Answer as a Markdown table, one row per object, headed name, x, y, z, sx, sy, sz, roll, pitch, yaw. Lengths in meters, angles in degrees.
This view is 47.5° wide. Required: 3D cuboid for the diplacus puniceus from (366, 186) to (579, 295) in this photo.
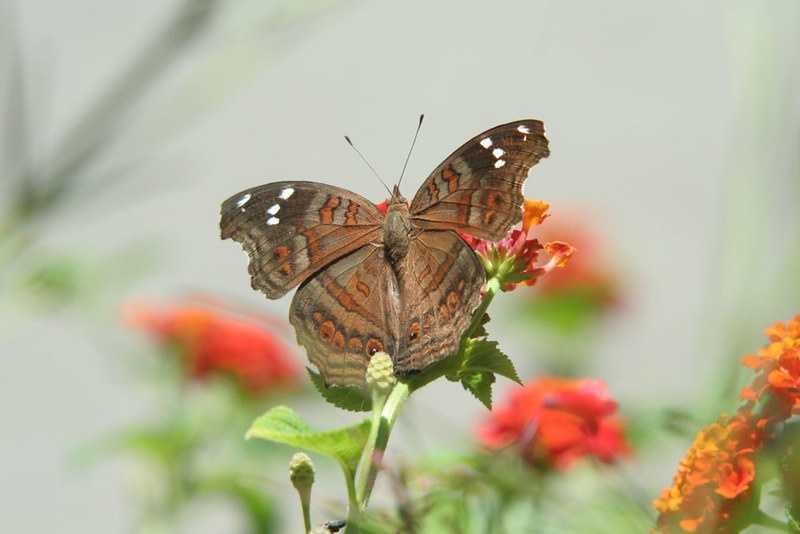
| name | x | y | z | sx | sy | sz | roll | pitch | yaw |
| --- | --- | --- | --- | --- | --- | --- | --- | --- | --- |
| diplacus puniceus | 0.103 | -0.043 | 1.607 | 0.143 | 0.201 | 0.501 | 0 | 3 | -30 |
